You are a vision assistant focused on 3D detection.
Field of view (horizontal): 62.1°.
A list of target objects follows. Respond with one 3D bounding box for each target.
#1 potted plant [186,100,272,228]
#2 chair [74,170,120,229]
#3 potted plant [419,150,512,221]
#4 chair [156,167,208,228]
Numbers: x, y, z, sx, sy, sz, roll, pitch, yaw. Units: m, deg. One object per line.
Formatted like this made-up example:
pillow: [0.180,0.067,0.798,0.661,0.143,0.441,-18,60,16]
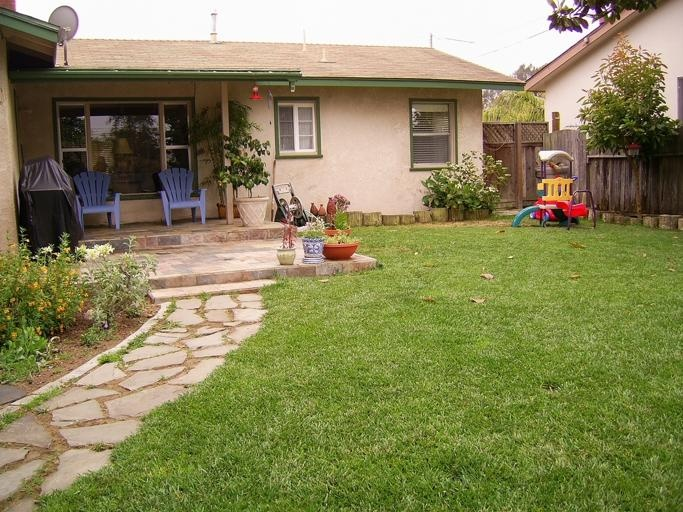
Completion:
potted plant: [-2.374,-2.066,11.987,2.017,2.885,1.959,-2,6,-9]
chair: [-4.812,-1.084,11.207,0.830,1.135,2.142,-4,7,-22]
potted plant: [3.181,-1.822,14.333,2.327,1.622,1.262,-6,7,-34]
chair: [-3.352,-1.241,11.836,0.811,1.183,1.513,-4,7,-17]
